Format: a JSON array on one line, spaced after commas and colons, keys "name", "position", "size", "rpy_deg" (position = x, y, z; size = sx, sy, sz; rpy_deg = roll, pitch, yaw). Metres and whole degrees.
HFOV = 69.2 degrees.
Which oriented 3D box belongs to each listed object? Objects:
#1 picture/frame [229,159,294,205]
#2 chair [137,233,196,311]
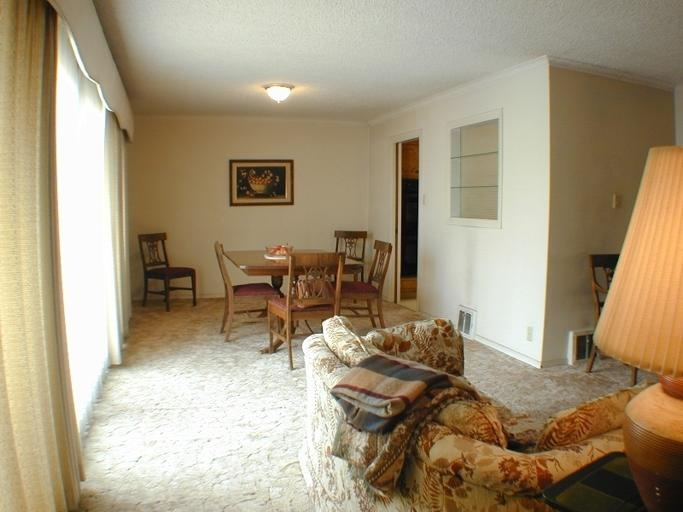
[{"name": "picture/frame", "position": [-1.149, -1.055, 6.920], "size": [0.693, 0.484, 0.025], "rpy_deg": [0, 3, -17]}, {"name": "chair", "position": [-2.255, 0.160, 6.428], "size": [0.625, 0.933, 1.023], "rpy_deg": [-4, 11, -22]}]
